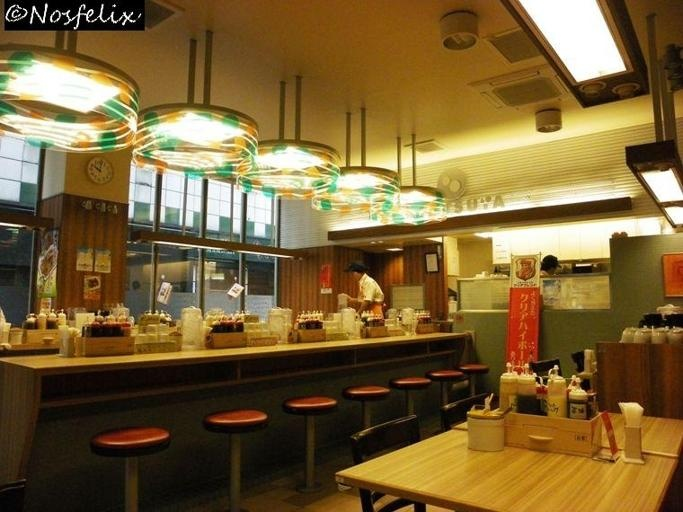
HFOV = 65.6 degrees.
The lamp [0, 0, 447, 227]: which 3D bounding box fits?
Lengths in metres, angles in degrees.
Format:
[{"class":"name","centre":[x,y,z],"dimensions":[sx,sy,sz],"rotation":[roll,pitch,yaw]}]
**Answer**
[{"class":"lamp","centre":[-0.645,-1.365,5.603],"dimensions":[1.231,1.916,4.737],"rotation":[4,7,39]}]

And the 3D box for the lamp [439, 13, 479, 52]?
[{"class":"lamp","centre":[1.167,-2.208,5.200],"dimensions":[0.383,0.207,0.366],"rotation":[1,-6,-3]}]

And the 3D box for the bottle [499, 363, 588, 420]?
[{"class":"bottle","centre":[1.202,0.812,3.188],"dimensions":[0.375,0.329,0.321],"rotation":[1,-2,11]}]

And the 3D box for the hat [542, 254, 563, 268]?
[{"class":"hat","centre":[3.186,0.093,8.110],"dimensions":[0.195,0.215,0.232],"rotation":[0,-4,-9]}]

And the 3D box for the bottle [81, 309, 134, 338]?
[{"class":"bottle","centre":[-1.903,0.570,4.352],"dimensions":[0.296,0.166,0.279],"rotation":[1,-4,0]}]
